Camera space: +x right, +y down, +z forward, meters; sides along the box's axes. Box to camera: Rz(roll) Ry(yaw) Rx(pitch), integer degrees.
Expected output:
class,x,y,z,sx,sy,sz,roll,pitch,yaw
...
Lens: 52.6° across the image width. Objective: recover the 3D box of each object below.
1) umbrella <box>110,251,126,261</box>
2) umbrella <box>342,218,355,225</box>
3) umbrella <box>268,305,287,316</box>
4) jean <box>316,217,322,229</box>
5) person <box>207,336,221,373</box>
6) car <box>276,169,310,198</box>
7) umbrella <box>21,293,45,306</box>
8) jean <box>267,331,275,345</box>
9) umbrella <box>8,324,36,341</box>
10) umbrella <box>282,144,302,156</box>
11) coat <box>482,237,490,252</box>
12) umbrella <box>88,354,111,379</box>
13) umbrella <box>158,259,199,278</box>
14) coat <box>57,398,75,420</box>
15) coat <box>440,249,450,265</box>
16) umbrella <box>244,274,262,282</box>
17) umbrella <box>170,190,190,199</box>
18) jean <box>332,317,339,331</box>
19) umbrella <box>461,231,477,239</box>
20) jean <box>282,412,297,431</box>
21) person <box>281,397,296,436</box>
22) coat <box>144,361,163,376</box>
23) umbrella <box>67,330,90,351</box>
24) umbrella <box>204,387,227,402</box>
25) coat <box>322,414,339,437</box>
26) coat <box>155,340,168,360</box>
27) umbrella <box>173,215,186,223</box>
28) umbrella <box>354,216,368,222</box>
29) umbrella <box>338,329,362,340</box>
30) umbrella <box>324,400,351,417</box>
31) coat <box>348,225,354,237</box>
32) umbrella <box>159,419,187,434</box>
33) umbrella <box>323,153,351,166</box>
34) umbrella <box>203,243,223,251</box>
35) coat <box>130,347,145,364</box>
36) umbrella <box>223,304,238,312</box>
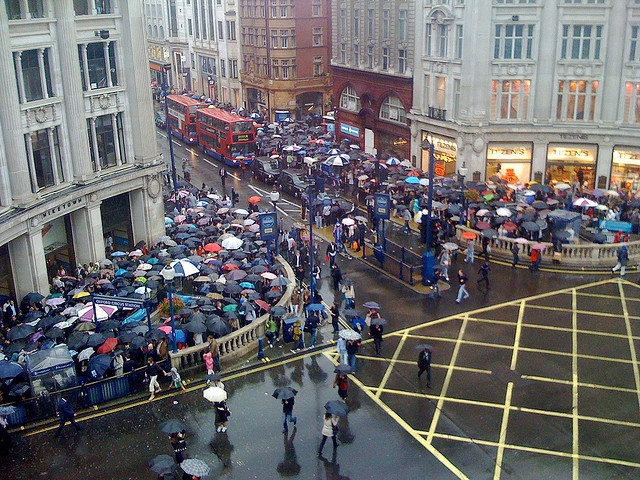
class,x,y,z,sx,sy,sz,roll,pitch,yaw
umbrella,-13.365,1.101,42.962,0.598,0.700,1.106,4,15,11
umbrella,2.040,-1.279,46.458,0.883,0.391,0.982,-2,16,-14
umbrella,-2.334,3.825,34.808,0.998,0.443,0.839,6,16,17
jean,-0.127,-1.322,50.313,0.381,0.906,0.580,0,14,-6
person,-5.254,5.741,32.595,0.382,2.036,0.684,14,19,41
car,-2.167,-5.369,60.751,2.434,2.081,4.177,-11,26,-35
umbrella,-16.129,3.291,36.519,0.712,0.311,0.732,16,29,30
jean,-2.658,5.274,35.091,0.234,0.777,0.261,-3,51,2
umbrella,-14.827,4.620,32.259,1.223,0.572,0.931,-9,18,-34
umbrella,-2.874,-9.173,67.388,1.788,1.090,1.744,1,15,-2
coat,11.027,0.274,43.274,0.352,1.288,0.841,1,6,-4
umbrella,-10.234,5.814,30.097,0.958,1.004,0.345,-30,-40,23
umbrella,-7.191,1.551,34.162,1.489,1.055,1.638,0,15,-6
coat,-11.266,7.534,28.774,0.604,1.042,0.383,-4,15,-22
coat,8.103,1.162,42.339,0.462,0.971,0.776,10,17,30
umbrella,-3.946,2.240,38.159,0.912,0.339,0.810,2,15,1
umbrella,-11.703,-3.830,54.377,1.351,0.559,2.642,-1,16,-11
jean,0.875,4.668,36.507,0.376,0.961,1.015,1,15,0
umbrella,9.961,-0.253,43.368,0.796,0.563,0.773,2,15,1
jean,-1.409,8.224,29.282,0.900,0.846,0.264,11,-2,-33
person,-1.382,7.683,28.919,0.591,2.075,1.278,1,14,-2
coat,-8.027,6.214,31.310,0.790,0.540,0.236,-3,7,-24
umbrella,-11.788,4.870,31.468,0.836,0.407,0.903,12,41,17
umbrella,-4.528,6.756,27.881,0.895,0.746,0.695,1,15,-2
coat,0.431,7.890,27.459,0.605,0.908,0.469,1,14,-1
coat,-7.842,5.474,31.992,0.512,0.946,0.822,-10,14,-43
umbrella,-10.492,-1.532,48.591,0.827,0.445,0.755,-1,15,-11
umbrella,3.021,-1.436,47.160,0.574,0.391,1.322,-6,17,-26
umbrella,1.440,4.682,31.553,0.914,0.505,1.021,0,15,-4
umbrella,0.671,7.096,26.829,0.910,0.619,0.693,5,15,14
coat,2.244,-0.644,46.899,0.382,0.643,0.353,2,14,3
umbrella,-5.936,7.541,26.062,0.830,0.436,0.771,10,17,29
umbrella,1.625,-7.114,58.646,1.584,0.870,2.519,8,17,24
umbrella,-7.104,0.560,42.653,1.084,0.469,0.910,5,15,11
coat,-8.932,5.627,31.539,0.625,0.931,0.527,11,27,1
umbrella,-4.783,3.703,34.957,0.821,0.249,0.592,14,19,38
